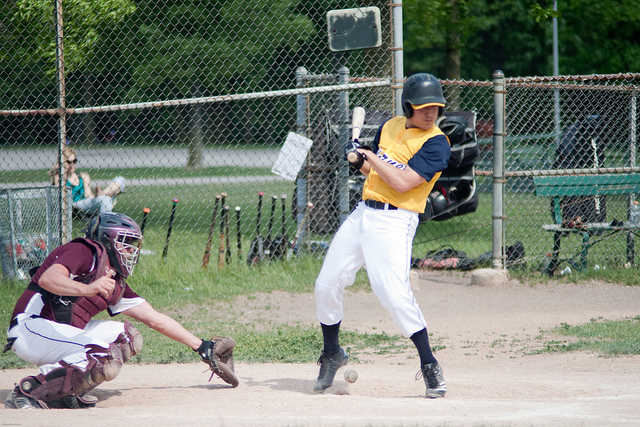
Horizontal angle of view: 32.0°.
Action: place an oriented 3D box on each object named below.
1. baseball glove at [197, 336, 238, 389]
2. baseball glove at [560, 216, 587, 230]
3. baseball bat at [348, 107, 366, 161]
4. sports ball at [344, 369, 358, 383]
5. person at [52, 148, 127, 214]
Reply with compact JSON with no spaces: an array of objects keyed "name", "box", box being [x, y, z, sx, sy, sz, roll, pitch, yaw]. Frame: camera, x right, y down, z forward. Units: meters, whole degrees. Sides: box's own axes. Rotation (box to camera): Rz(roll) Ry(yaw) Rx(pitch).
[{"name":"baseball glove","box":[-1.397,2.013,15.861,0.330,0.788,0.456,-36,12,16]},{"name":"baseball glove","box":[4.395,0.151,19.002,0.540,0.223,0.170,7,1,4]},{"name":"baseball bat","box":[0.506,-1.116,15.819,0.189,0.821,0.159,-20,-46,32]},{"name":"sports ball","box":[0.435,2.302,15.761,0.164,0.170,0.169,16,7,-2]},{"name":"person","box":[-4.703,-0.677,22.769,0.970,1.454,1.098,-22,47,-2]}]
